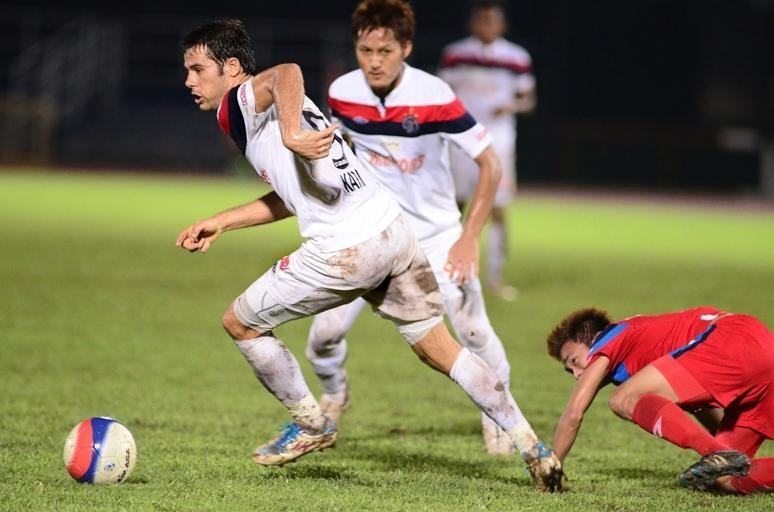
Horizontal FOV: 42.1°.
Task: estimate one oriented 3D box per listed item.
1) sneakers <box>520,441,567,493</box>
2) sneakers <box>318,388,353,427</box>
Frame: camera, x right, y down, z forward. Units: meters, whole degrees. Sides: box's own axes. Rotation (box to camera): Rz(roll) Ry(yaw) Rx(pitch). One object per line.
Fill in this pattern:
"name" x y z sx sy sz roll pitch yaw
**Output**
"sneakers" 1.099 1.492 7.122 0.252 0.375 0.175 -24 3 -24
"sneakers" -0.424 1.195 8.119 0.166 0.155 0.355 10 48 32
